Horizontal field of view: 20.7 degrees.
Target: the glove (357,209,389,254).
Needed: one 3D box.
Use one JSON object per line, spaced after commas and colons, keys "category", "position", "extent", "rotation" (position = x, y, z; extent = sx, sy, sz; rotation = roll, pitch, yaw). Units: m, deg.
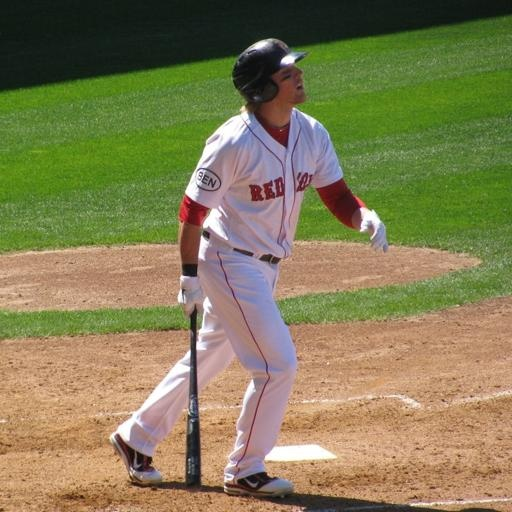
{"category": "glove", "position": [1.280, -0.236, 15.075], "extent": [0.281, 0.470, 0.300], "rotation": [-3, 28, -9]}
